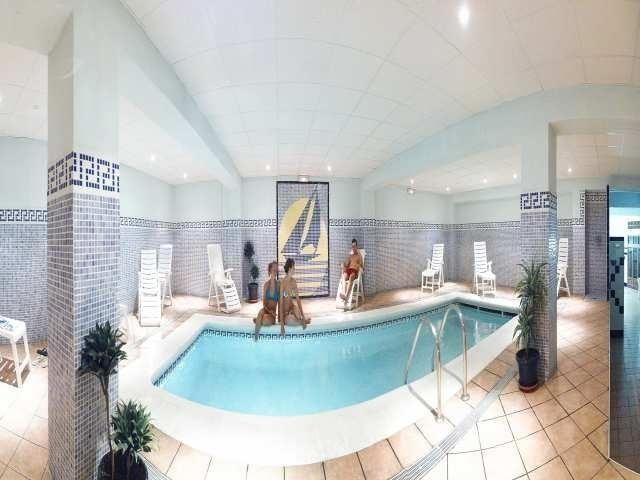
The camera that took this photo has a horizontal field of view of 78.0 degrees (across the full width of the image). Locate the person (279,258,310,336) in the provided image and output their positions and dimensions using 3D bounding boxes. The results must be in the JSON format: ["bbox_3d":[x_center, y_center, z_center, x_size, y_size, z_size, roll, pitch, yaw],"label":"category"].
[{"bbox_3d":[-0.381,0.751,5.513,0.502,0.916,0.492,-4,8,-35],"label":"person"}]

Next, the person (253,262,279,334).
[{"bbox_3d":[-0.735,0.775,5.463,0.355,0.973,0.547,-1,12,-9],"label":"person"}]

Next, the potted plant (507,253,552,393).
[{"bbox_3d":[2.252,0.876,4.207,0.351,1.214,0.736,7,13,29],"label":"potted plant"}]
